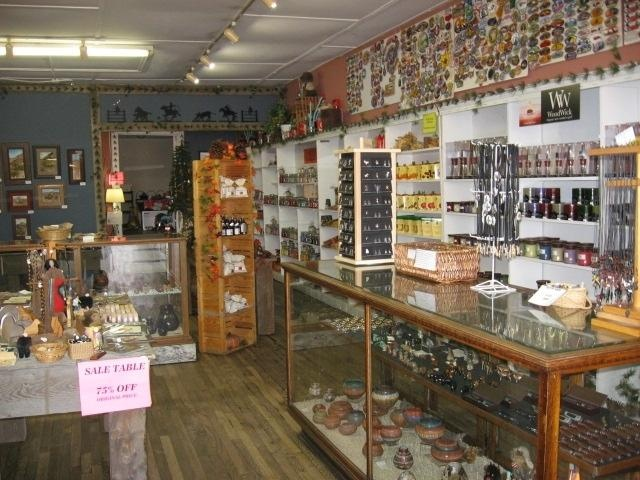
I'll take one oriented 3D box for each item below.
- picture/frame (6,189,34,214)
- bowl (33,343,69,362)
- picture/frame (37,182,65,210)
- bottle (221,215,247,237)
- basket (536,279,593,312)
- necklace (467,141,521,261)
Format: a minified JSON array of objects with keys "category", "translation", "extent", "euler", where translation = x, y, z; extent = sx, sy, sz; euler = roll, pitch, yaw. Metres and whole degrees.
[{"category":"picture/frame","translation":[-5.705,-0.745,9.054],"extent":[0.466,0.467,0.046],"euler":[-1,0,-23]},{"category":"bowl","translation":[-1.561,0.646,2.748],"extent":[0.122,0.045,0.118],"euler":[2,1,0]},{"category":"picture/frame","translation":[-5.200,-0.875,9.209],"extent":[0.535,0.539,0.039],"euler":[0,1,-26]},{"category":"bottle","translation":[-1.098,-0.171,6.133],"extent":[0.224,0.404,0.292],"euler":[1,1,44]},{"category":"basket","translation":[1.242,0.283,2.411],"extent":[0.199,0.073,0.163],"euler":[1,2,1]},{"category":"necklace","translation":[0.979,-0.222,2.666],"extent":[0.247,0.640,0.163],"euler":[3,8,22]}]
